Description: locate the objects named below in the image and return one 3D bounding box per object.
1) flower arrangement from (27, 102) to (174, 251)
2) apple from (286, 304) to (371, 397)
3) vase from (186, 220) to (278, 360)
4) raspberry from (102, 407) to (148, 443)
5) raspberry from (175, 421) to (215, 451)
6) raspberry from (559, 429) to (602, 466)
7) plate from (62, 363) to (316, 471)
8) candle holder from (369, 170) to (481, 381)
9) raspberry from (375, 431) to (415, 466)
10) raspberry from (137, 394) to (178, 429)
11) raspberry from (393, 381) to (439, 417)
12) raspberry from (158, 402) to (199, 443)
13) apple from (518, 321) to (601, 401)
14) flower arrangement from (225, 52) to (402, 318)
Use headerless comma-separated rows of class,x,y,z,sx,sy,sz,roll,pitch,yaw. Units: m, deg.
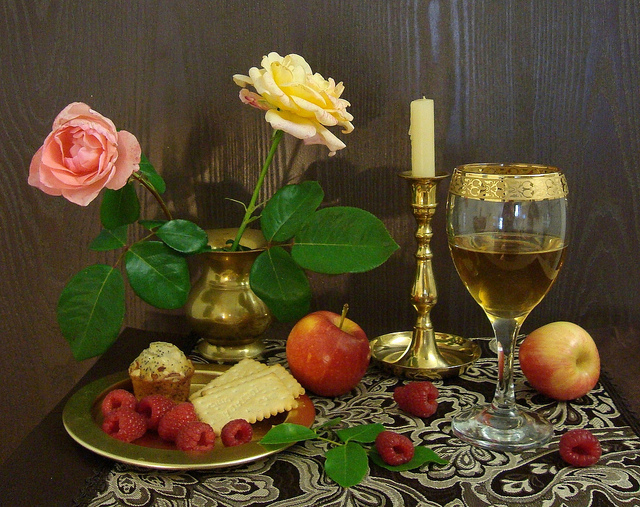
flower arrangement,-0.320,-0.117,0.910,0.150,0.243,0.232,5,20,10
apple,0.011,0.158,0.923,0.103,0.122,0.102,25,17,26
vase,-0.155,0.091,1.072,0.171,0.215,0.167,5,-3,-37
raspberry,-0.269,0.231,0.792,0.038,0.029,0.049,27,-6,-6
raspberry,-0.162,0.241,0.764,0.036,0.023,0.042,-12,57,-26
raspberry,0.343,0.253,0.786,0.058,0.026,0.063,-8,-27,22
plate,-0.207,0.198,0.839,0.353,0.087,0.249,-11,16,-31
candle holder,0.188,0.077,1.032,0.174,0.428,0.155,-14,24,-37
raspberry,0.100,0.250,0.751,0.035,0.026,0.045,-3,20,-15
raspberry,-0.231,0.225,0.833,0.055,0.042,0.040,2,-30,-13
raspberry,0.142,0.220,0.889,0.071,0.052,0.054,-1,-15,32
raspberry,-0.204,0.223,0.814,0.061,0.035,0.048,3,14,22
apple,0.376,0.175,0.937,0.130,0.125,0.129,-1,-8,38
flower arrangement,-0.014,-0.108,0.918,0.277,0.393,0.152,3,20,4
